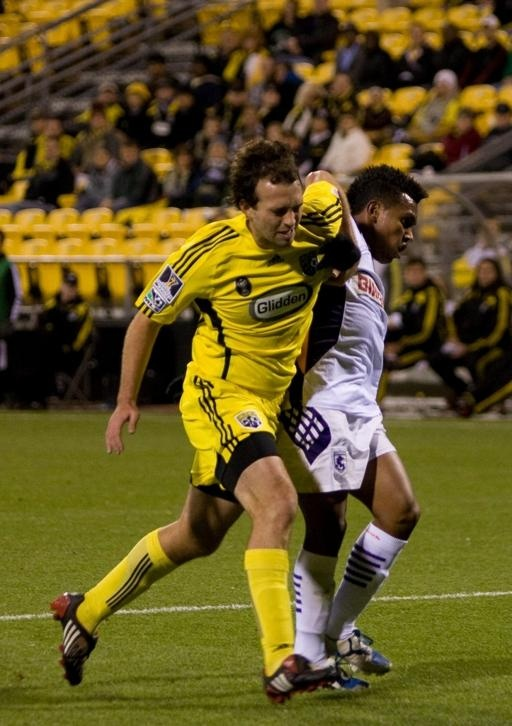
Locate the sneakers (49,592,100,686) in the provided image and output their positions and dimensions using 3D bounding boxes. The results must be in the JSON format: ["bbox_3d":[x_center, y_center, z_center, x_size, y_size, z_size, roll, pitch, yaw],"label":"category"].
[{"bbox_3d":[-0.559,0.801,2.742,0.153,0.246,0.104,-11,-8,29],"label":"sneakers"}]

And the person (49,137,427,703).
[{"bbox_3d":[-0.051,0.197,2.622,0.947,1.470,0.595,3,4,38],"label":"person"}]
